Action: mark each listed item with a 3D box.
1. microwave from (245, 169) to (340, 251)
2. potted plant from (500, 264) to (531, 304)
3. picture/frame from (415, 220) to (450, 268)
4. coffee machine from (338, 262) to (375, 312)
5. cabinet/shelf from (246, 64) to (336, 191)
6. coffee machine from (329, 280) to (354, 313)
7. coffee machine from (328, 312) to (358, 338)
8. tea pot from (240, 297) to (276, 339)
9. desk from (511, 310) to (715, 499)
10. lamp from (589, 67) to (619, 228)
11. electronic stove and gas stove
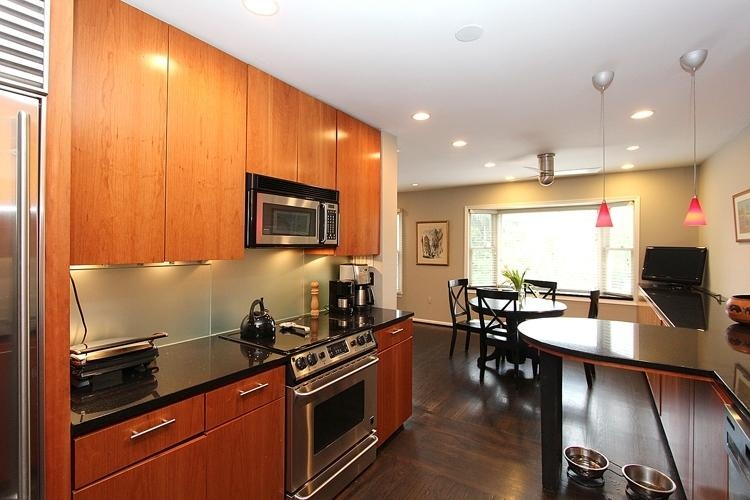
[{"bbox_3d":[-0.666,-0.259,3.813,0.370,0.484,0.810,2,0,44],"label":"microwave"},{"bbox_3d":[1.775,0.421,6.295,0.422,0.594,0.432,-3,-1,3],"label":"potted plant"},{"bbox_3d":[0.896,-0.106,7.906,0.586,0.674,0.027,-1,1,-23],"label":"picture/frame"},{"bbox_3d":[-0.152,0.316,4.395,0.302,0.366,0.270,-2,2,8],"label":"coffee machine"},{"bbox_3d":[-0.633,-0.893,3.637,0.282,0.700,0.875,2,0,42],"label":"cabinet/shelf"},{"bbox_3d":[-0.276,0.387,4.291,0.195,0.245,0.158,5,7,27],"label":"coffee machine"},{"bbox_3d":[-0.259,0.570,3.847,0.129,0.125,0.236,11,6,6],"label":"coffee machine"},{"bbox_3d":[-0.858,0.483,3.620,0.268,0.289,0.280,1,-2,0],"label":"tea pot"},{"bbox_3d":[1.672,1.025,3.353,1.173,0.881,1.209,-3,5,-25],"label":"desk"},{"bbox_3d":[1.878,-0.776,4.133,0.217,1.240,0.206,-10,11,-20],"label":"lamp"},{"bbox_3d":[-0.456,0.684,3.697,0.785,0.169,0.731,-14,12,-43],"label":"electronic stove and gas stove"}]
